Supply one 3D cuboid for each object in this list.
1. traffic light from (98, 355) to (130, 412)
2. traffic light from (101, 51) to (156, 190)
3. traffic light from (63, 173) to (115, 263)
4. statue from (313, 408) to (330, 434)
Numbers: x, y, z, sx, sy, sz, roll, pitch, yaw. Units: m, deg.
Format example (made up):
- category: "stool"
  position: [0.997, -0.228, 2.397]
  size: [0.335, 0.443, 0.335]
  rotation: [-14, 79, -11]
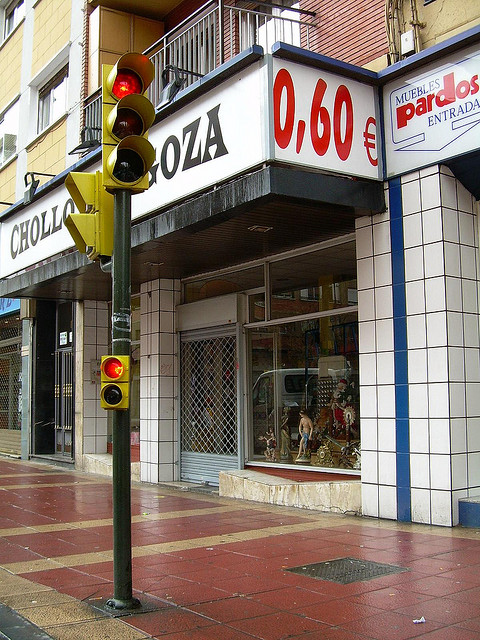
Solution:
- category: "traffic light"
  position: [-0.714, 0.357, 3.598]
  size: [0.158, 0.287, 0.084]
  rotation: [2, -8, -18]
- category: "traffic light"
  position: [-0.662, -1.229, 3.732]
  size: [0.305, 0.857, 0.512]
  rotation: [2, -8, -14]
- category: "traffic light"
  position: [-0.949, -0.663, 3.960]
  size: [0.297, 0.515, 0.415]
  rotation: [2, -8, -16]
- category: "statue"
  position: [1.072, 1.333, 8.297]
  size: [0.067, 0.320, 0.206]
  rotation: [10, 8, -35]
